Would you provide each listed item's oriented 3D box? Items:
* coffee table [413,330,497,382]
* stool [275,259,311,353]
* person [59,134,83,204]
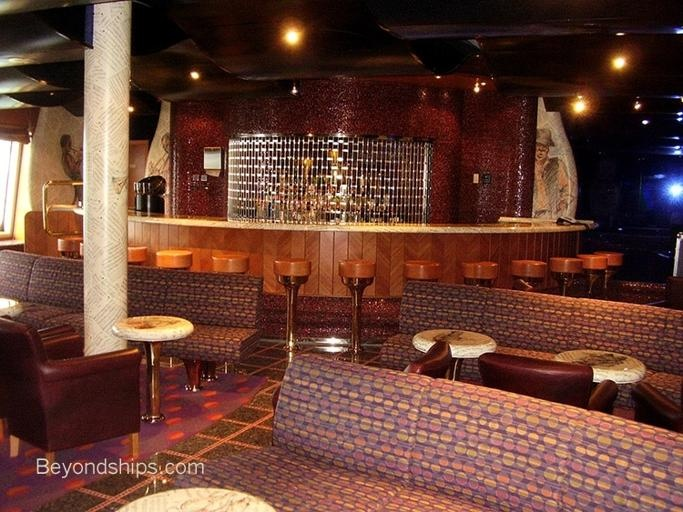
[{"bbox_3d":[0.996,0.729,4.499,0.625,0.362,0.562,1,7,6],"label":"coffee table"},{"bbox_3d":[-0.620,0.629,6.729,0.356,1.199,0.283,5,11,32],"label":"stool"},{"bbox_3d":[-6.280,-2.048,12.170,0.353,1.583,0.515,-3,10,-12],"label":"person"}]
